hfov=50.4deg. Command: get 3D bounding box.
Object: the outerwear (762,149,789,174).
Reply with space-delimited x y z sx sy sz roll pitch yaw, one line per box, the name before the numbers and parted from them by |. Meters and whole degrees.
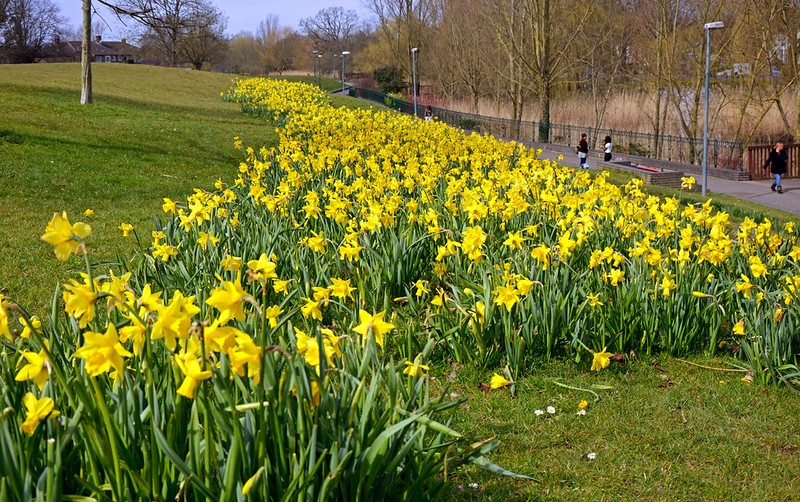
outerwear | 11.492 -2.830 26.172 0.712 0.964 0.270 12 23 35
